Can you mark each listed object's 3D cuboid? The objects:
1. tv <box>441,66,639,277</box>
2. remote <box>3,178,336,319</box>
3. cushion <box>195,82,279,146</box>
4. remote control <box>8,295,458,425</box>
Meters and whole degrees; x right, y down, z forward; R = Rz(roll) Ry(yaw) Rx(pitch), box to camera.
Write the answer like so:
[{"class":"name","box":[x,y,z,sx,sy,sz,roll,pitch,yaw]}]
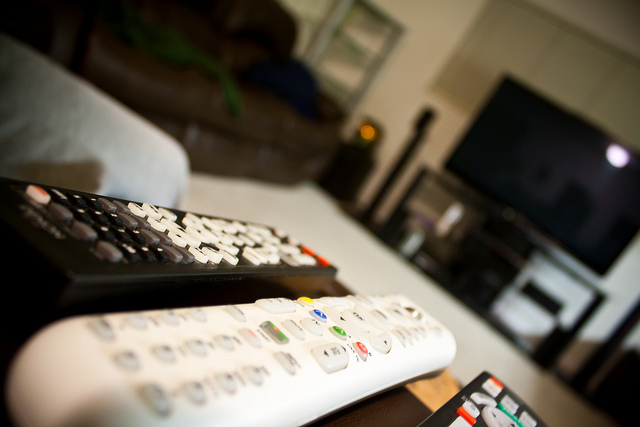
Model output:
[{"class":"tv","box":[0.398,-0.084,0.836,0.301,0.220,0.030,35,25,2]},{"class":"remote","box":[-0.146,0.045,0.491,0.273,0.028,0.116,12,36,-49]},{"class":"cushion","box":[-0.141,-0.165,0.778,0.097,0.042,0.176,-1,-15,0]},{"class":"remote control","box":[-0.054,0.134,0.455,0.389,0.084,0.134,7,24,-47]}]
